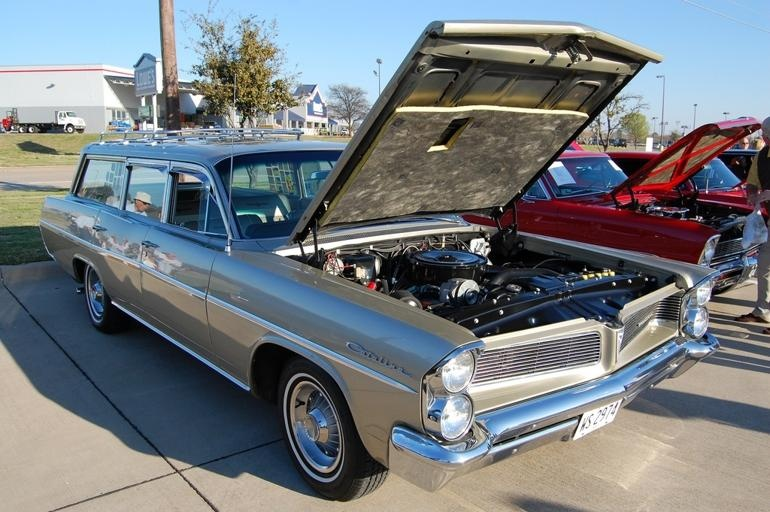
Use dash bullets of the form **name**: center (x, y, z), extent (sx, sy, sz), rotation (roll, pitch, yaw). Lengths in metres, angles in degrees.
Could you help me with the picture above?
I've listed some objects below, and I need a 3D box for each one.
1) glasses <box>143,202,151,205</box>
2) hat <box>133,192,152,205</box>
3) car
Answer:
- **glasses**: center (-2.271, -0.502, 4.431), extent (0.051, 0.011, 0.045), rotation (8, 3, -14)
- **hat**: center (-2.351, -0.570, 4.506), extent (0.171, 0.076, 0.137), rotation (23, 9, 34)
- **car**: center (-0.567, -0.357, 4.346), extent (5.359, 2.174, 3.172), rotation (15, 22, 43)
